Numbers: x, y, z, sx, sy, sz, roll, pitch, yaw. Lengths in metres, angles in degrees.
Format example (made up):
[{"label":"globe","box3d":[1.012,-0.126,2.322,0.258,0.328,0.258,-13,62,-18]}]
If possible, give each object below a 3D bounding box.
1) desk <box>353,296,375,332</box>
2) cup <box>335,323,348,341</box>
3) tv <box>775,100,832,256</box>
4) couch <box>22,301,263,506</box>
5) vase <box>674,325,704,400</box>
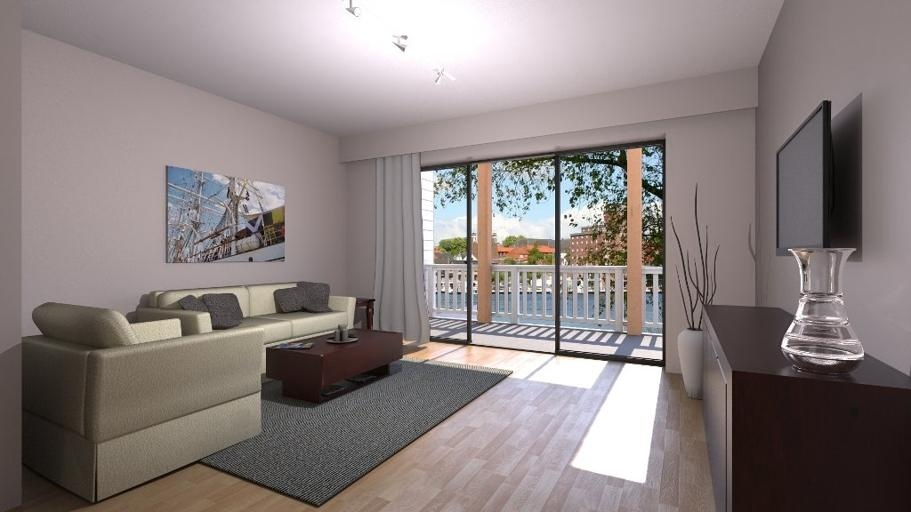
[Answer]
[{"label":"desk","box3d":[-1.343,0.855,7.549,0.407,0.312,0.347,-5,-10,-20]},{"label":"cup","box3d":[-1.201,0.833,5.739,0.145,0.154,0.147,0,-6,0]},{"label":"tv","box3d":[2.770,-0.599,4.207,0.148,1.176,1.468,0,1,20]},{"label":"couch","box3d":[-2.882,1.084,4.880,1.739,1.353,1.606,2,2,26]},{"label":"vase","box3d":[2.391,1.117,5.395,0.216,0.686,0.346,0,5,21]}]
